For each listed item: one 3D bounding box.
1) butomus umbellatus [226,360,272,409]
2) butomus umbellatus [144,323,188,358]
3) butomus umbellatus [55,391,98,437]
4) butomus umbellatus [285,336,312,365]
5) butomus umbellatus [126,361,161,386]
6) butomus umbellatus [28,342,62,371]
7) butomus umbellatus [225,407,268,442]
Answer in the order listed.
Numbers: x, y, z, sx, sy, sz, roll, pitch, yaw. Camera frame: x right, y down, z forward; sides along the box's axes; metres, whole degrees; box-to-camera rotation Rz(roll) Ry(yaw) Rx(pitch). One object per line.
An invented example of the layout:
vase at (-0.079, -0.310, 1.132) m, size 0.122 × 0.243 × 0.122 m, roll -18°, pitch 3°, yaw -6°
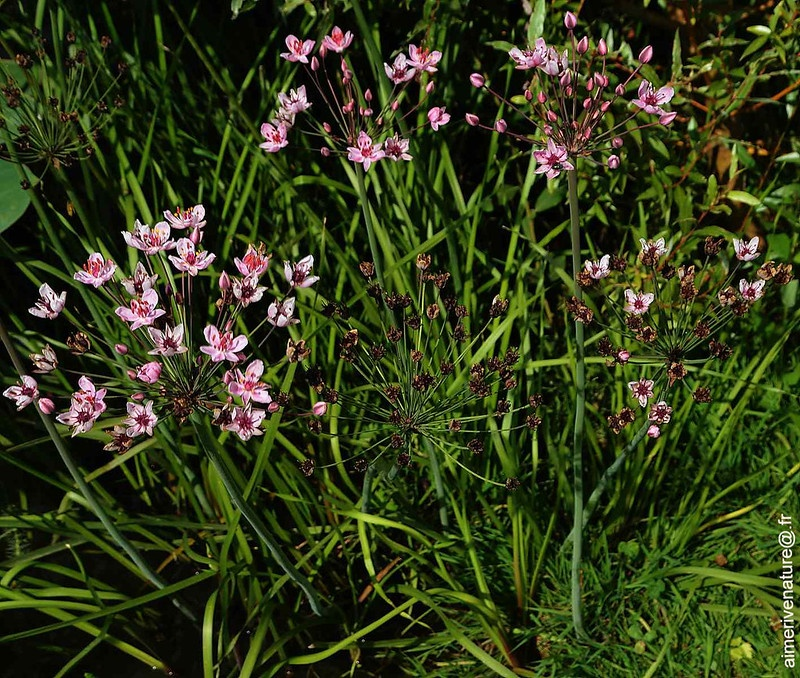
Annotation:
butomus umbellatus at (-0.464, 0.138, 2.648) m, size 0.146 × 0.074 × 0.145 m, roll 16°, pitch 29°, yaw 29°
butomus umbellatus at (-0.695, 0.007, 2.628) m, size 0.089 × 0.049 × 0.106 m, roll 8°, pitch 41°, yaw 2°
butomus umbellatus at (-0.974, 0.230, 2.675) m, size 0.132 × 0.085 × 0.155 m, roll -6°, pitch 10°, yaw 0°
butomus umbellatus at (-0.324, 0.027, 2.808) m, size 0.064 × 0.050 × 0.079 m, roll 26°, pitch 15°, yaw 5°
butomus umbellatus at (-0.776, 0.095, 2.642) m, size 0.086 × 0.051 × 0.086 m, roll -4°, pitch 69°, yaw 0°
butomus umbellatus at (-1.308, 0.061, 3.181) m, size 0.065 × 0.071 × 0.085 m, roll 32°, pitch 43°, yaw -33°
butomus umbellatus at (-0.478, 0.267, 2.716) m, size 0.108 × 0.048 × 0.125 m, roll 19°, pitch 70°, yaw -19°
